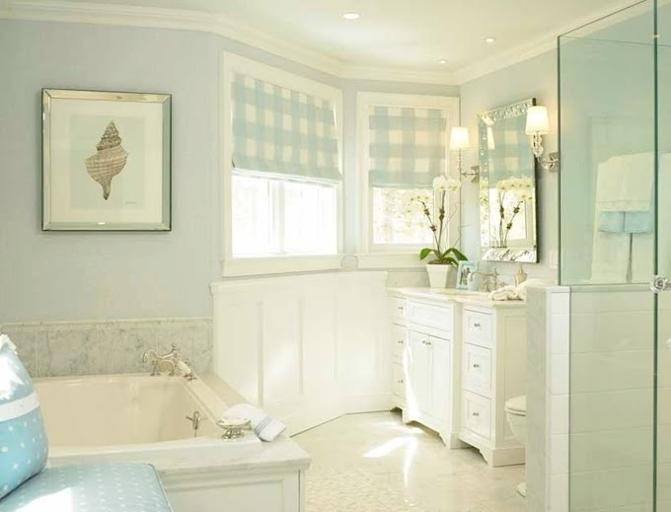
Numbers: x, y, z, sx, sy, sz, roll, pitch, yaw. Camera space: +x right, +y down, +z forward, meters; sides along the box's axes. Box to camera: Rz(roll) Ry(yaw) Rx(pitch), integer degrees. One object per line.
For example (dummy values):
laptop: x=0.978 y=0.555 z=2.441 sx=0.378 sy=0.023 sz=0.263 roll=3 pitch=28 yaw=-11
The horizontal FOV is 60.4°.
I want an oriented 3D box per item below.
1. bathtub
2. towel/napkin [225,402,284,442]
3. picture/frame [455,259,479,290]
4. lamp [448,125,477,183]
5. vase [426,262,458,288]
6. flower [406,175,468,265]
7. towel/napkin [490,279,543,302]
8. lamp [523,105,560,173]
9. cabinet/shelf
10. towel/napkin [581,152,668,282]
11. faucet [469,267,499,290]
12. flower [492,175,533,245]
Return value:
bathtub: x=-1.297 y=0.910 z=3.394 sx=0.796 sy=0.308 sz=0.648 roll=6 pitch=1 yaw=-24
towel/napkin: x=-0.400 y=0.794 z=2.733 sx=0.276 sy=0.128 sz=0.220 roll=-1 pitch=1 yaw=40
picture/frame: x=1.084 y=0.154 z=4.752 sx=0.039 sy=0.308 sz=0.219 roll=9 pitch=-2 yaw=-33
lamp: x=1.093 y=-0.882 z=4.913 sx=0.224 sy=0.517 sz=0.384 roll=-2 pitch=2 yaw=14
vase: x=0.903 y=0.161 z=4.952 sx=0.228 sy=0.187 sz=0.205 roll=1 pitch=1 yaw=21
flower: x=0.891 y=-0.266 z=5.040 sx=0.539 sy=0.815 sz=0.468 roll=5 pitch=-4 yaw=-19
towel/napkin: x=1.207 y=0.232 z=3.860 sx=0.261 sy=0.119 sz=0.206 roll=-2 pitch=0 yaw=-16
lamp: x=1.457 y=-0.848 z=4.109 sx=0.201 sy=0.525 sz=0.383 roll=-1 pitch=2 yaw=19
cabinet/shelf: x=0.879 y=0.891 z=4.027 sx=0.390 sy=0.828 sz=1.097 roll=1 pitch=-2 yaw=-16
towel/napkin: x=1.235 y=-0.162 z=2.504 sx=0.054 sy=0.552 sz=0.306 roll=-3 pitch=2 yaw=-21
faucet: x=1.185 y=0.200 z=4.657 sx=0.142 sy=0.170 sz=0.217 roll=-3 pitch=1 yaw=-28
flower: x=1.359 y=-0.336 z=4.390 sx=0.100 sy=0.537 sz=0.374 roll=-2 pitch=2 yaw=-15
